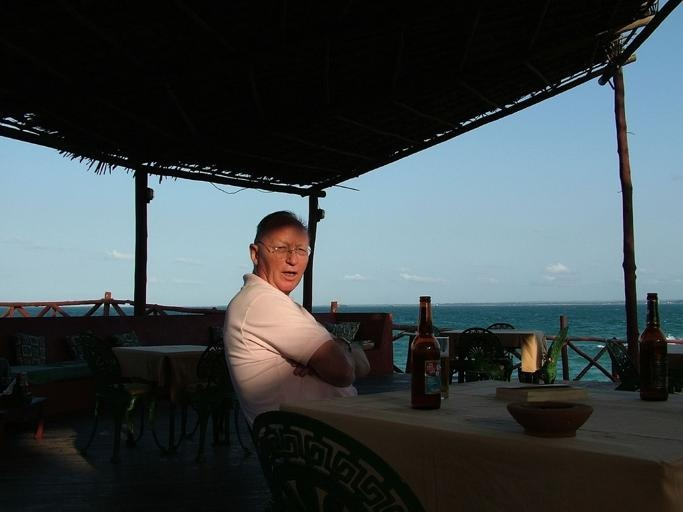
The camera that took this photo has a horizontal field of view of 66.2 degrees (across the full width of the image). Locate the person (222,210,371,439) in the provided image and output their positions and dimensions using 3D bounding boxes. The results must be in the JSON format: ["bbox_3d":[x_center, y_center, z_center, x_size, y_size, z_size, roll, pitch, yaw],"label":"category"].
[{"bbox_3d":[-0.241,0.299,2.336,0.546,0.927,0.673,-5,-7,0],"label":"person"}]

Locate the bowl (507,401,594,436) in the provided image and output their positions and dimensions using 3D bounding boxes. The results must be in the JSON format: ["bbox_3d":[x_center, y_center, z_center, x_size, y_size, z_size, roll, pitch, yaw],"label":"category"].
[{"bbox_3d":[0.560,0.432,1.386,0.200,0.074,0.179,5,-8,-41],"label":"bowl"}]
